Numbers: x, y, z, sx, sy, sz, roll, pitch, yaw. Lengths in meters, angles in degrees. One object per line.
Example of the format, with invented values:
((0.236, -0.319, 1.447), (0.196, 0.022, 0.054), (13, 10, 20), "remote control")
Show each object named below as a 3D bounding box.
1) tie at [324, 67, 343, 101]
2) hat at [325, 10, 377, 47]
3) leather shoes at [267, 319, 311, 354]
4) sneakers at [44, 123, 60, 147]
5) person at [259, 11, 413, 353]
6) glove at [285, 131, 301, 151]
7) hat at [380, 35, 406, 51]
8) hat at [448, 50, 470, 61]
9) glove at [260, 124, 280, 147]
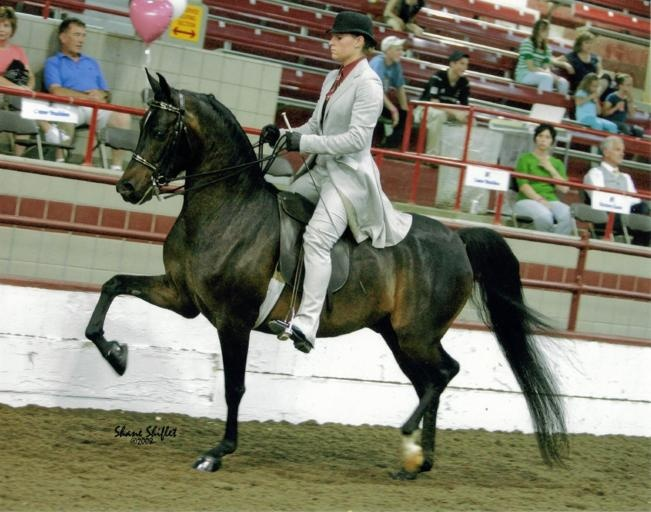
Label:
((0.091, -1.340, 6.629), (0.064, 0.243, 0.146), (25, 8, -42), "tie")
((0.201, -1.730, 6.524), (0.351, 0.155, 0.233), (12, 1, -18), "hat")
((-0.267, 0.614, 6.460), (0.355, 0.229, 0.219), (8, 9, -1), "leather shoes")
((-2.929, -1.288, 9.016), (0.201, 0.218, 0.248), (2, 2, -6), "sneakers")
((0.035, -0.583, 6.681), (0.765, 2.596, 1.066), (18, 12, 41), "person")
((-0.253, -0.860, 6.438), (0.121, 0.139, 0.054), (6, 3, 8), "glove")
((0.846, -2.739, 11.049), (0.341, 0.160, 0.223), (-9, 12, 32), "hat")
((1.749, -2.645, 11.265), (0.171, 0.080, 0.223), (-2, -4, -39), "hat")
((-0.432, -0.910, 6.487), (0.143, 0.167, 0.064), (17, 13, 9), "glove")
